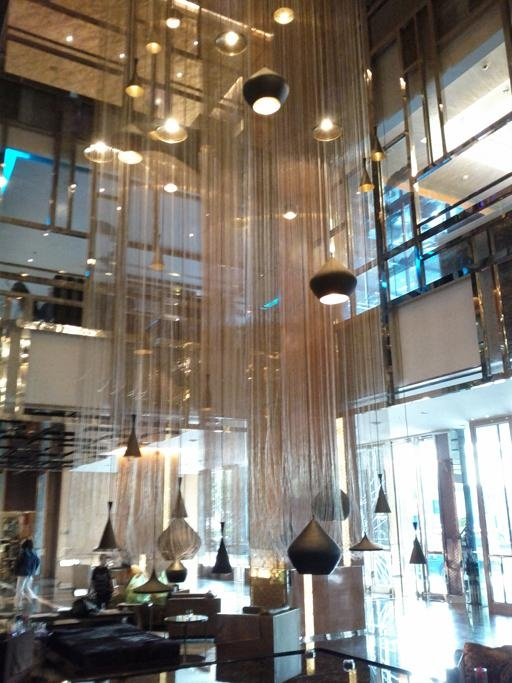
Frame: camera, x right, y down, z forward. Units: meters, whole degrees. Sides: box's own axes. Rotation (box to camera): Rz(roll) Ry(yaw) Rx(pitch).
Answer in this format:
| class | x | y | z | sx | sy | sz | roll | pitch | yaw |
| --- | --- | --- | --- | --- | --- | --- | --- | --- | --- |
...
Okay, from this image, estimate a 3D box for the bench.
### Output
| class | x | y | z | sx | sy | sz | roll | pitch | yaw |
| --- | --- | --- | --- | --- | --- | --- | --- | --- | --- |
| bench | -1.295 | 2.723 | 4.650 | 1.084 | 0.203 | 1.635 | 9 | -18 | -33 |
